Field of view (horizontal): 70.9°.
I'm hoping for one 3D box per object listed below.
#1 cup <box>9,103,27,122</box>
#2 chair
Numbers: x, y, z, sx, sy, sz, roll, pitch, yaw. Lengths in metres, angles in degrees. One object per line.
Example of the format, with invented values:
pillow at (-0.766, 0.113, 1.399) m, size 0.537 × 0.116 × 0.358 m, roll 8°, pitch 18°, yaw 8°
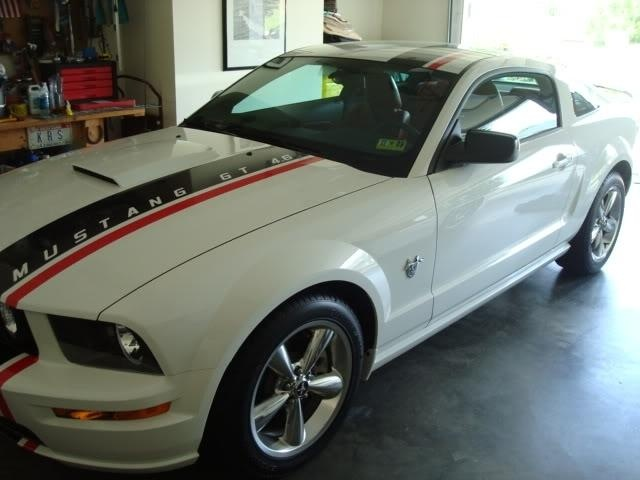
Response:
cup at (-2.509, -1.067, 3.730) m, size 0.164 × 0.127 × 0.162 m, roll 3°, pitch 7°, yaw 0°
chair at (0.667, -0.632, 2.360) m, size 0.904 × 0.536 × 0.261 m, roll 3°, pitch -7°, yaw -1°
